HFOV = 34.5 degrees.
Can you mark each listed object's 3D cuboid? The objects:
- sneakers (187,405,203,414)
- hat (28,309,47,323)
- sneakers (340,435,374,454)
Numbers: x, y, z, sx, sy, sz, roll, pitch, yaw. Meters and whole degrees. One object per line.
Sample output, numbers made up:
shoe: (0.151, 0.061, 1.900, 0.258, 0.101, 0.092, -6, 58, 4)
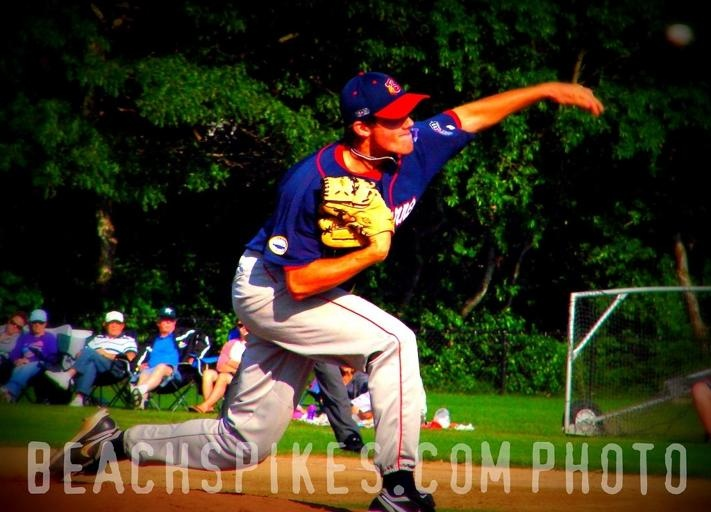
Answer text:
sneakers: (-3.165, 3.025, 22.678, 0.138, 0.181, 0.404, 4, -12, -41)
hat: (-6.621, 1.228, 23.549, 0.332, 0.281, 0.577, 9, 1, -5)
sneakers: (0.034, 3.221, 19.626, 0.482, 0.237, 0.197, -1, -5, 27)
